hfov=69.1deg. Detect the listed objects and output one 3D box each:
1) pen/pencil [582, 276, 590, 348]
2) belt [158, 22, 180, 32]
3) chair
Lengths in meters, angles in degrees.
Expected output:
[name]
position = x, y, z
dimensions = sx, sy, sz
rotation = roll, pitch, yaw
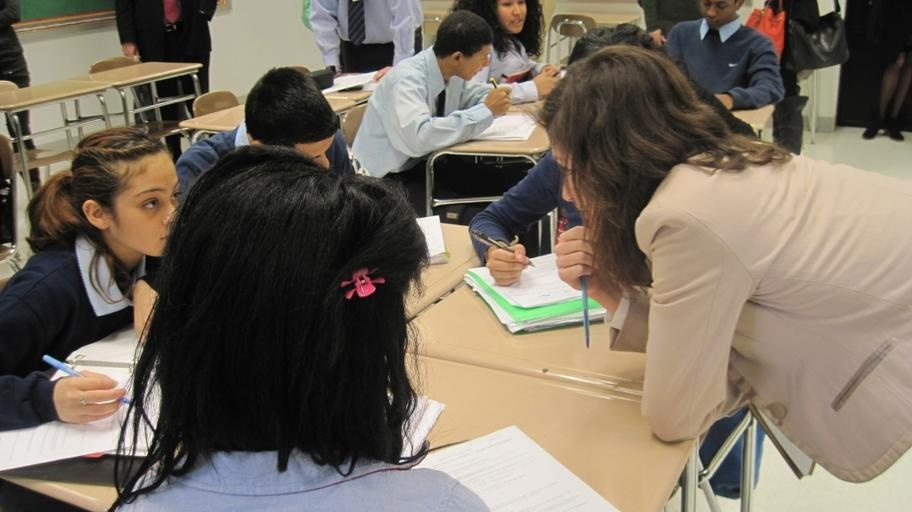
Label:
[pen/pencil]
position = 0.395, 0.165, 2.052
dimensions = 0.023, 0.238, 0.022
rotation = -4, -3, 15
[belt]
position = -2.475, -1.962, 5.650
dimensions = 0.105, 0.037, 0.103
rotation = -10, 10, -38
[chair]
position = 0.657, 0.100, 3.626
dimensions = 2.032, 2.506, 2.615
rotation = 13, 31, 25
